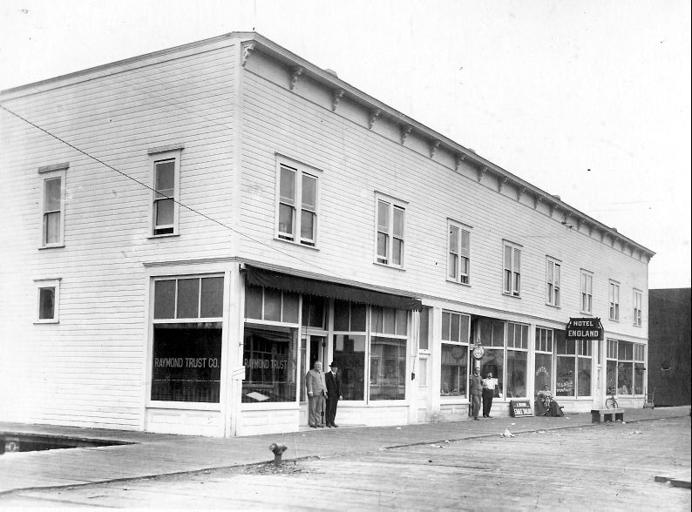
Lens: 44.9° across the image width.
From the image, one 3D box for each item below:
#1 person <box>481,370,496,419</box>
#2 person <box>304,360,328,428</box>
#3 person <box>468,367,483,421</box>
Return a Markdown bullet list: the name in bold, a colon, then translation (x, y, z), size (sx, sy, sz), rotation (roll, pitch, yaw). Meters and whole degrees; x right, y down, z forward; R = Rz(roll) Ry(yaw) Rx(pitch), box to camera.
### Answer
- **person**: translation (5.577, 5.461, 32.719), size (0.498, 1.696, 1.188), rotation (1, -5, 10)
- **person**: translation (-0.888, 4.073, 24.406), size (0.669, 1.891, 0.583), rotation (3, -4, -15)
- **person**: translation (4.851, 5.227, 31.408), size (0.445, 1.801, 1.035), rotation (2, -5, 8)
